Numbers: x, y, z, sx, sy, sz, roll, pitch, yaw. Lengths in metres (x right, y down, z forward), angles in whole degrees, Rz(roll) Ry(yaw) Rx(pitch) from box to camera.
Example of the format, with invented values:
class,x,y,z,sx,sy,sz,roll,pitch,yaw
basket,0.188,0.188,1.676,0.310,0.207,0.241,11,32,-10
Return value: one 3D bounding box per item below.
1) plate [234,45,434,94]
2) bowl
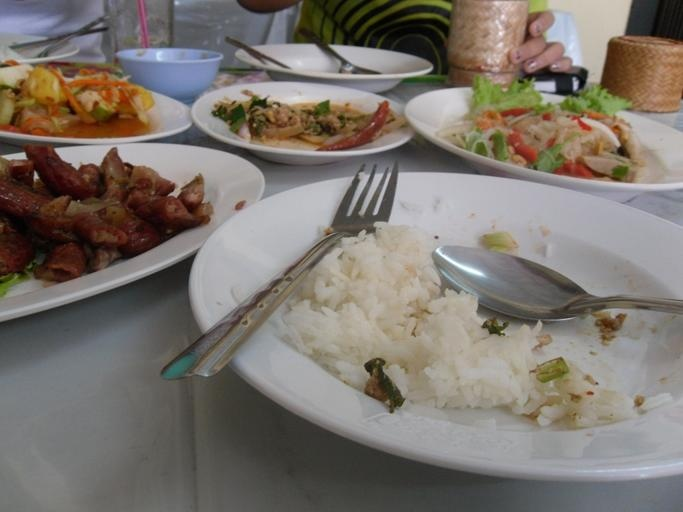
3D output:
class,x,y,z,sx,sy,sz,roll,pitch,yaw
plate,-0.011,-0.724,2.288,0.498,0.071,0.464,6,25,0
bowl,-0.577,-0.597,1.838,0.309,0.121,0.290,4,27,-2
